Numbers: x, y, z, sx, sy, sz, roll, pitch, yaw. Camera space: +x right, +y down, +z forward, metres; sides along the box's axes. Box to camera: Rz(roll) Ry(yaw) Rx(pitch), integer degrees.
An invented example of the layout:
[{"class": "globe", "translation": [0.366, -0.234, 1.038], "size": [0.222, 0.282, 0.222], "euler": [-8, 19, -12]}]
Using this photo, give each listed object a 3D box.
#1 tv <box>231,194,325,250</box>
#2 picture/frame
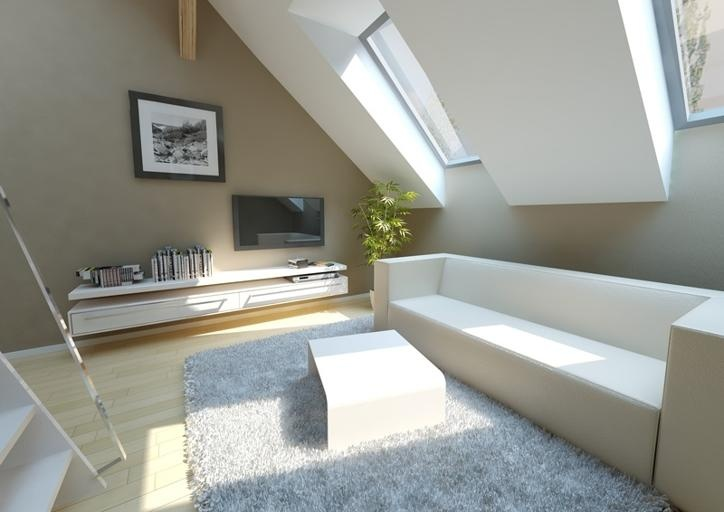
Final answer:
[{"class": "tv", "translation": [-0.998, -0.440, 5.299], "size": [1.151, 0.712, 0.047], "euler": [-2, -4, 4]}, {"class": "picture/frame", "translation": [-1.983, -1.277, 4.629], "size": [0.969, 0.958, 0.036], "euler": [-6, 11, -32]}]
